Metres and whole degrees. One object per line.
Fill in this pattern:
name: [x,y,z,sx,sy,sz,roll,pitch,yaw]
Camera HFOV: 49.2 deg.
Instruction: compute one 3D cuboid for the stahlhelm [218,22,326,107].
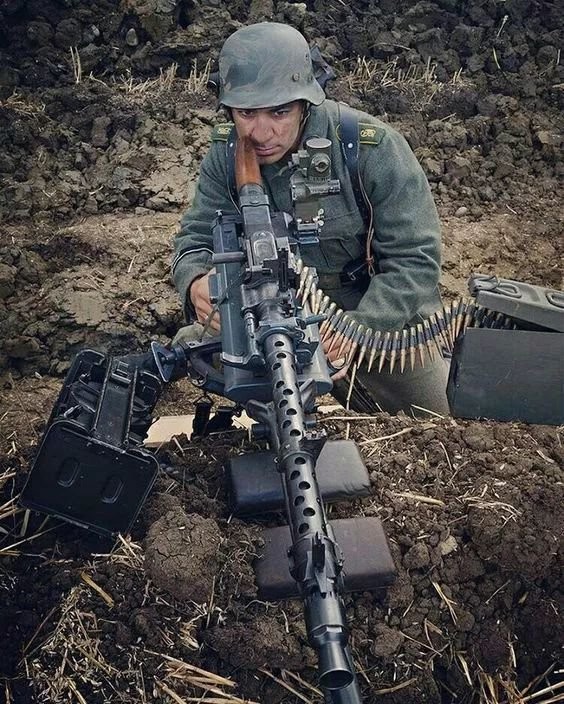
stahlhelm: [-0.082,-1.815,3.879,0.737,0.456,0.741,-3,38,1]
